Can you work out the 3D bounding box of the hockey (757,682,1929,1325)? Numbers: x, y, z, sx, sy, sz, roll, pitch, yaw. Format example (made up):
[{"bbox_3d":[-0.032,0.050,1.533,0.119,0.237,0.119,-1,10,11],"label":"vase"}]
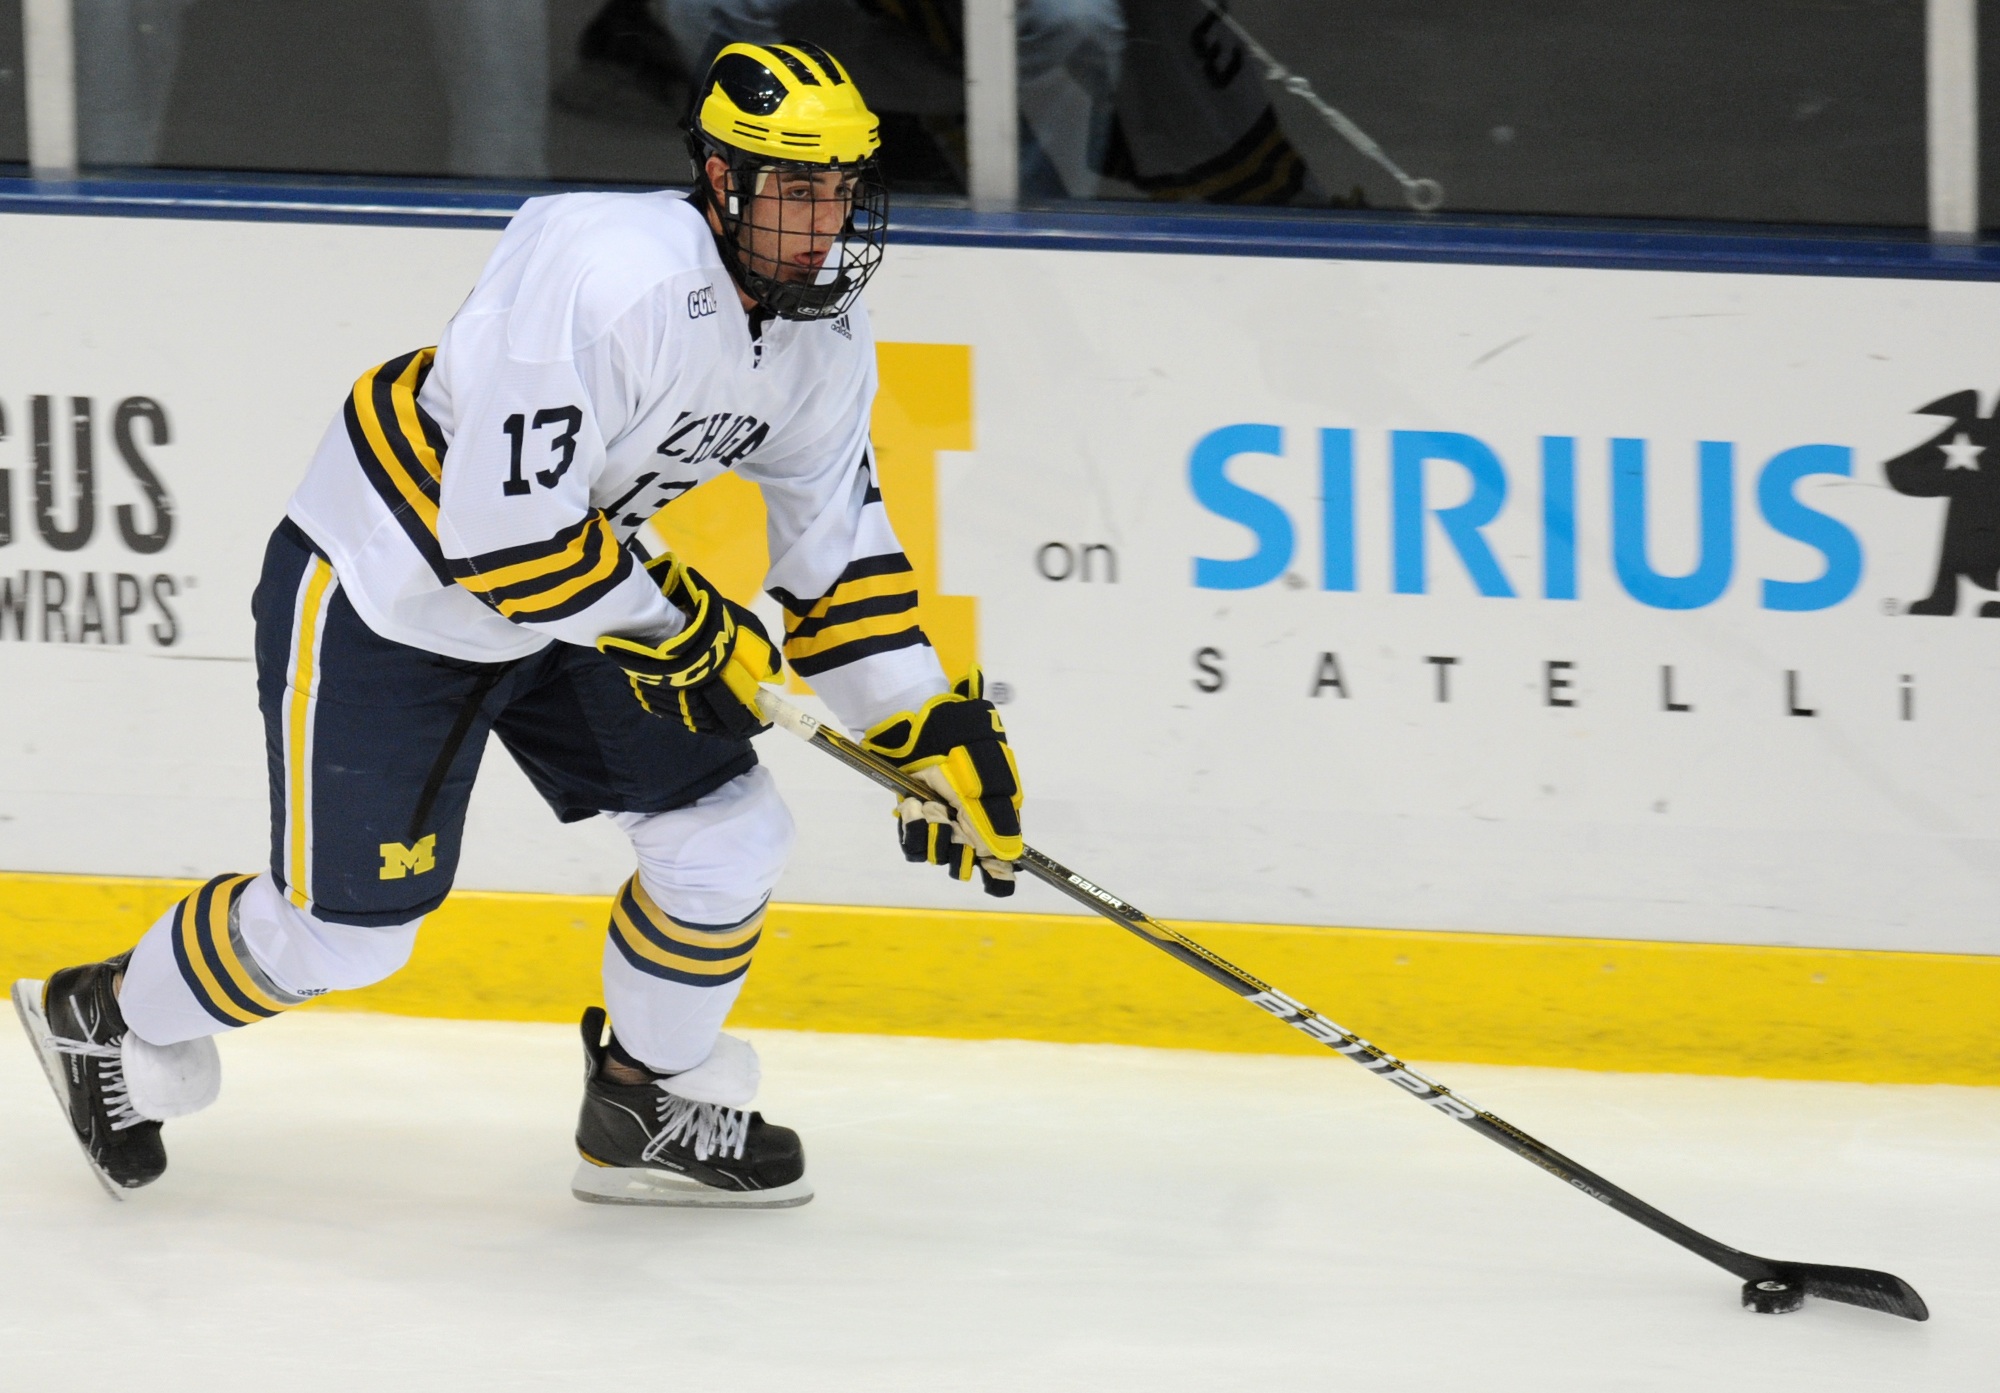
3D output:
[{"bbox_3d":[0.642,0.499,5.026,2.153,0.087,0.271,21,48,17],"label":"hockey"}]

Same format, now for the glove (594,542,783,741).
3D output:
[{"bbox_3d":[-0.430,-0.067,4.593,0.303,0.137,0.206,39,33,-19],"label":"glove"}]

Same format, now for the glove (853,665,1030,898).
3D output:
[{"bbox_3d":[-0.081,0.122,4.666,0.237,0.317,0.138,-28,1,18],"label":"glove"}]

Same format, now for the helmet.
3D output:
[{"bbox_3d":[-0.310,-0.733,4.437,0.299,0.384,0.192,6,10,-7],"label":"helmet"}]

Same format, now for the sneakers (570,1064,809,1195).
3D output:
[{"bbox_3d":[-0.501,0.696,5.018,0.431,0.216,0.166,0,10,-2],"label":"sneakers"}]

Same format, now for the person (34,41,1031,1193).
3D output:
[{"bbox_3d":[-0.661,-0.061,4.690,1.364,1.856,0.578,5,11,-14],"label":"person"}]
